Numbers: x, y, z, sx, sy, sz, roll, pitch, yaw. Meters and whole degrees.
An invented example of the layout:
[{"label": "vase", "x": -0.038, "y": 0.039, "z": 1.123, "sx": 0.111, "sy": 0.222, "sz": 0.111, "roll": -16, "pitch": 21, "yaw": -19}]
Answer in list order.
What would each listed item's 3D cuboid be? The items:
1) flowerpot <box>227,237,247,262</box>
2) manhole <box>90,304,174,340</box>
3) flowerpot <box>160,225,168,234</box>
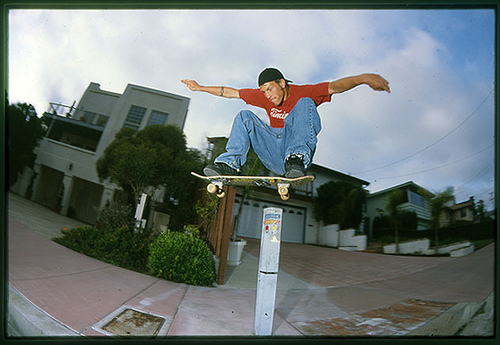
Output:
[{"label": "flowerpot", "x": -0.410, "y": 2.154, "z": 9.260, "sx": 0.599, "sy": 0.572, "sz": 0.506, "roll": 11, "pitch": -16, "yaw": -28}, {"label": "manhole", "x": -2.379, "y": 3.096, "z": 6.886, "sx": 0.880, "sy": 0.133, "sz": 0.640, "roll": 9, "pitch": 19, "yaw": 10}, {"label": "flowerpot", "x": -2.206, "y": 1.458, "z": 8.574, "sx": 0.191, "sy": 0.190, "sz": 0.088, "roll": 9, "pitch": -13, "yaw": -10}]
